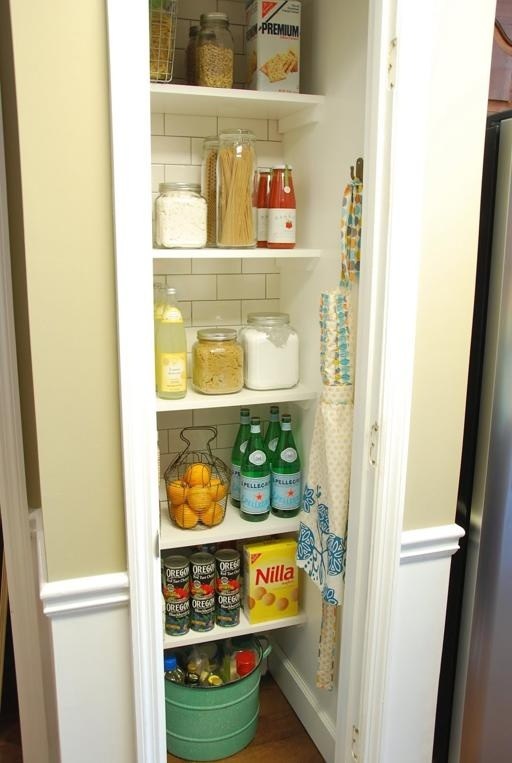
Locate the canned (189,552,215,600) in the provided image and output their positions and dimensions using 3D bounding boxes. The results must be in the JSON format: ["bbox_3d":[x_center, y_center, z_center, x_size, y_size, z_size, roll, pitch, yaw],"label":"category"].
[{"bbox_3d":[-0.150,0.540,1.608,0.072,0.104,0.085,3,17,4],"label":"canned"}]

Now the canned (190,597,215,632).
[{"bbox_3d":[-0.150,0.648,1.650,0.069,0.101,0.079,1,9,-15],"label":"canned"}]

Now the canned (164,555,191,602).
[{"bbox_3d":[-0.221,0.544,1.591,0.078,0.109,0.085,-9,21,-29],"label":"canned"}]

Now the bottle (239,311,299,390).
[{"bbox_3d":[0.028,-0.117,1.681,0.156,0.275,0.172,-3,15,-12],"label":"bottle"}]

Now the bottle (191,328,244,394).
[{"bbox_3d":[-0.103,-0.065,1.531,0.126,0.230,0.152,0,7,-9],"label":"bottle"}]

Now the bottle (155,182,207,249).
[{"bbox_3d":[-0.182,-0.391,1.392,0.123,0.213,0.136,-3,11,-15],"label":"bottle"}]

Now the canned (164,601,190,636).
[{"bbox_3d":[-0.217,0.645,1.623,0.069,0.102,0.080,4,9,4],"label":"canned"}]

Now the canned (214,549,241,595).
[{"bbox_3d":[-0.083,0.545,1.637,0.066,0.138,0.077,8,20,18],"label":"canned"}]

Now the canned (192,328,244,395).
[{"bbox_3d":[-0.102,-0.064,1.530,0.128,0.232,0.153,-1,7,-11],"label":"canned"}]
